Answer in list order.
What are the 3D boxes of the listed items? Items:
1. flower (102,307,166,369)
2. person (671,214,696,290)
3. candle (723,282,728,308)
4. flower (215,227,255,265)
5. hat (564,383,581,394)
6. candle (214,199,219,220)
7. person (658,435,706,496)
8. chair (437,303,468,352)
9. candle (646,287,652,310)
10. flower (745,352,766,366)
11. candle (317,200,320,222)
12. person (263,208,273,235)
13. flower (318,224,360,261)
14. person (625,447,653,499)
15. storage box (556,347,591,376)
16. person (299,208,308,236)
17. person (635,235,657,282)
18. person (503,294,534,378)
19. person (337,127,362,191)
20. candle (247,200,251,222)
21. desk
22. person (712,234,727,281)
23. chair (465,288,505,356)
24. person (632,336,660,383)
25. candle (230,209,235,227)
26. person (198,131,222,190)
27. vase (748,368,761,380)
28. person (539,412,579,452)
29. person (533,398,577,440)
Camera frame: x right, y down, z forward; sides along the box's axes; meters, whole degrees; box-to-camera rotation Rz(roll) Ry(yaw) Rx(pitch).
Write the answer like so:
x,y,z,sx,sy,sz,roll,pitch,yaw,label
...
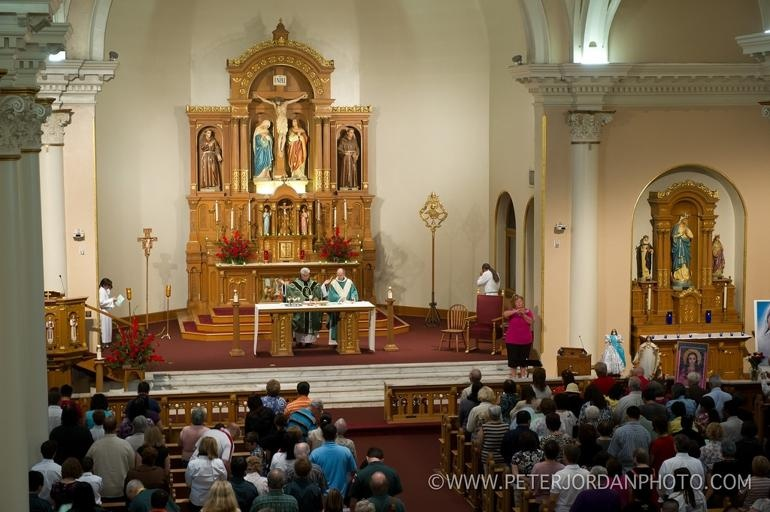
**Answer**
x,y,z,sx,sy,sz,roll,pitch,yaw,label
-5.234,1.860,21.241,1.526,1.381,1.107,3,-4,-15,flower
6.435,-0.065,22.387,0.421,1.625,0.326,-2,-6,10,person
7.473,0.902,22.535,0.119,0.528,0.087,-1,-5,-3,candle
-3.958,-0.212,27.200,0.963,0.865,0.935,0,-1,-5,flower
3.066,2.193,16.868,0.185,0.078,0.197,4,3,36,hat
-4.494,-1.198,27.494,0.110,0.553,0.088,-1,-5,-1,candle
4.186,3.028,14.577,0.771,0.944,0.518,0,-28,10,person
1.642,1.766,24.799,0.686,1.118,1.989,-1,-5,3,chair
5.766,0.947,22.407,0.153,0.492,0.077,2,-6,-33,candle
7.366,2.076,20.390,0.305,0.296,0.382,-2,-6,15,flower
-1.794,-1.223,27.872,0.086,0.532,0.203,-3,-6,23,candle
-3.174,-0.951,27.733,0.190,0.807,0.216,-6,-7,40,person
-1.216,-0.309,27.378,0.957,0.809,0.907,-2,5,-11,flower
3.550,3.093,14.298,0.377,0.731,1.233,-2,-6,14,person
3.798,2.164,20.704,0.654,0.732,0.434,-1,-1,16,storage box
-2.182,-0.934,27.776,0.229,0.800,0.198,-1,-5,-5,person
5.676,0.077,22.500,0.398,0.958,0.214,-2,-6,14,person
2.822,1.697,21.640,0.573,1.692,0.672,-2,-5,8,person
-0.982,-2.649,28.026,0.668,1.691,0.423,-1,-5,2,person
-3.630,-1.204,27.674,0.118,0.548,0.086,1,-6,-20,candle
-1.602,1.639,23.397,2.776,1.231,0.772,0,-5,-6,desk
7.344,0.014,22.581,0.403,0.985,0.161,3,-7,-34,person
2.310,1.648,24.327,0.887,1.408,1.169,-1,-5,-4,chair
5.099,2.054,20.015,0.731,1.203,0.333,0,-3,15,person
-4.101,-1.008,27.639,0.121,0.528,0.076,0,-6,-9,candle
-4.694,-2.596,27.627,0.626,1.687,0.311,0,-6,-14,person
7.344,2.381,20.362,0.243,0.239,0.236,-2,3,-17,vase
2.509,2.752,15.056,0.496,0.793,0.461,-8,-9,-1,person
2.592,2.521,15.619,0.469,1.020,0.413,2,38,7,person
